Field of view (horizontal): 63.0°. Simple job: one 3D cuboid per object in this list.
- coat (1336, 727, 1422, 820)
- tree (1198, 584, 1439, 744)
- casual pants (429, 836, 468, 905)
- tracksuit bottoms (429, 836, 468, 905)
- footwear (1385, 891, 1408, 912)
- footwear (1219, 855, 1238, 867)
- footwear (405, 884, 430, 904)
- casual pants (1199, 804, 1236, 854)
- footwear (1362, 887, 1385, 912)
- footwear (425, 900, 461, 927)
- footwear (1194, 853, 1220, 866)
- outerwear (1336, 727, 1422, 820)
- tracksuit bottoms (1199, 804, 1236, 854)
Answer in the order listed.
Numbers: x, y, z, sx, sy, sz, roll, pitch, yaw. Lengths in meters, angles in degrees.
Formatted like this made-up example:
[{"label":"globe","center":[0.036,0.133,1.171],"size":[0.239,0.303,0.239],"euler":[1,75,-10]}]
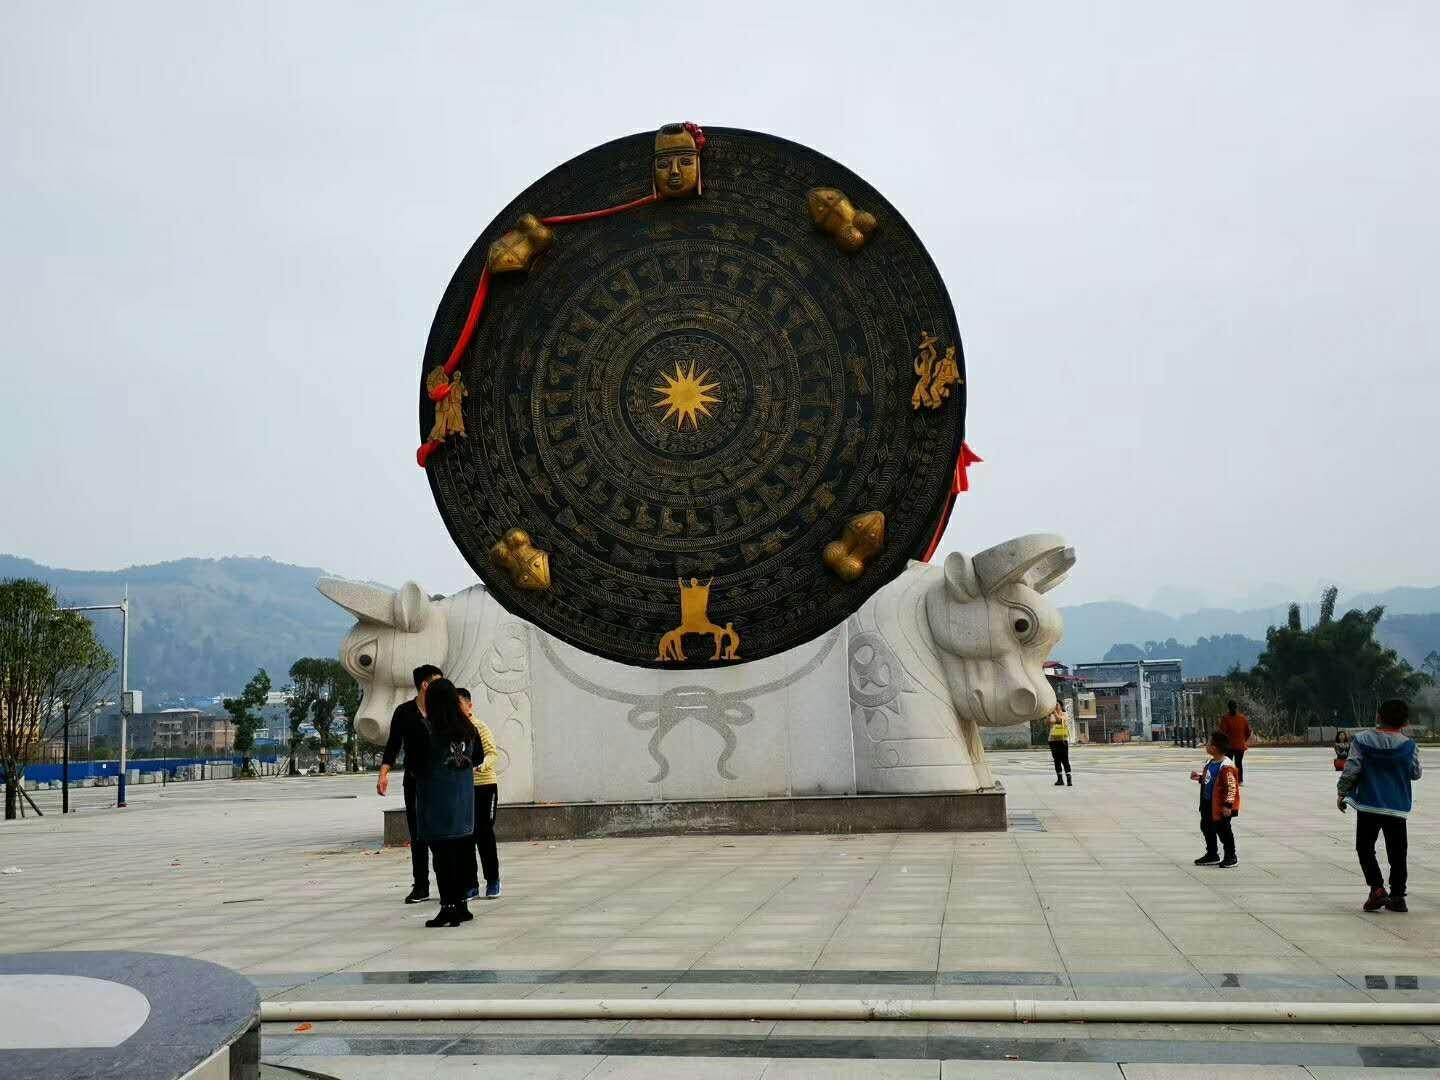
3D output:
[{"label":"coat","center":[5.594,1.939,9.864],"size":[0.701,0.750,0.414],"euler":[5,2,3]},{"label":"tree","center":[33.917,7.351,66.712],"size":[8.464,7.492,7.372],"euler":[2,-5,19]},{"label":"casual pants","center":[-2.257,2.831,10.066],"size":[0.388,0.522,0.456],"euler":[6,-5,-31]},{"label":"tracksuit bottoms","center":[-2.318,2.829,10.082],"size":[0.341,0.522,0.551],"euler":[4,-5,-12]},{"label":"footwear","center":[5.420,2.904,9.418],"size":[0.096,0.120,0.236],"euler":[0,6,7]},{"label":"footwear","center":[5.266,3.325,12.212],"size":[0.102,0.142,0.315],"euler":[-9,-20,34]},{"label":"footwear","center":[-2.928,3.377,11.219],"size":[0.300,0.225,0.122],"euler":[2,-7,-6]},{"label":"casual pants","center":[5.247,3.058,12.356],"size":[0.270,0.520,0.527],"euler":[4,-5,-11]},{"label":"footwear","center":[5.269,2.904,9.506],"size":[0.124,0.191,0.267],"euler":[0,-13,-10]},{"label":"footwear","center":[-2.329,3.124,9.824],"size":[0.368,0.197,0.168],"euler":[1,-5,29]},{"label":"footwear","center":[5.092,3.339,12.315],"size":[0.220,0.085,0.341],"euler":[1,-5,23]},{"label":"outerwear","center":[5.601,1.951,9.876],"size":[0.698,0.736,0.391],"euler":[5,1,2]},{"label":"tracksuit bottoms","center":[5.247,3.058,12.356],"size":[0.270,0.520,0.527],"euler":[4,-5,-11]}]
